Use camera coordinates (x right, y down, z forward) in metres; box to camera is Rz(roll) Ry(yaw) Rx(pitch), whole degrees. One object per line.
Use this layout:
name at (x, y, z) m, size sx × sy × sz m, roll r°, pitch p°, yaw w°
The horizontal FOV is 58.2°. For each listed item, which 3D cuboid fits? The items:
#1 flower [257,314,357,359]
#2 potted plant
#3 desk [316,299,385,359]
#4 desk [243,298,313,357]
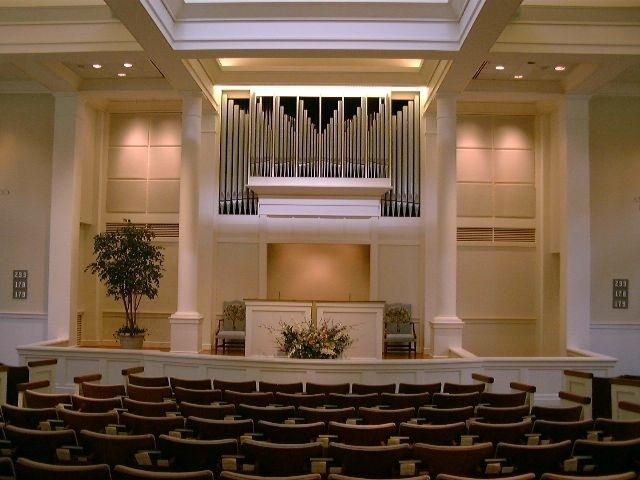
flower at (-0.245, 1.765, 10.009) m, size 1.725 × 0.699 × 3.311 m, roll 0°, pitch -6°, yaw -1°
potted plant at (-3.973, 0.841, 11.884) m, size 1.630 × 2.686 × 2.335 m, roll 2°, pitch -7°, yaw -23°
desk at (0.539, 1.647, 11.188) m, size 1.425 × 1.530 × 0.949 m, roll 0°, pitch -8°, yaw 1°
desk at (-0.777, 1.561, 11.374) m, size 1.449 × 1.480 × 0.929 m, roll 1°, pitch -2°, yaw -1°
